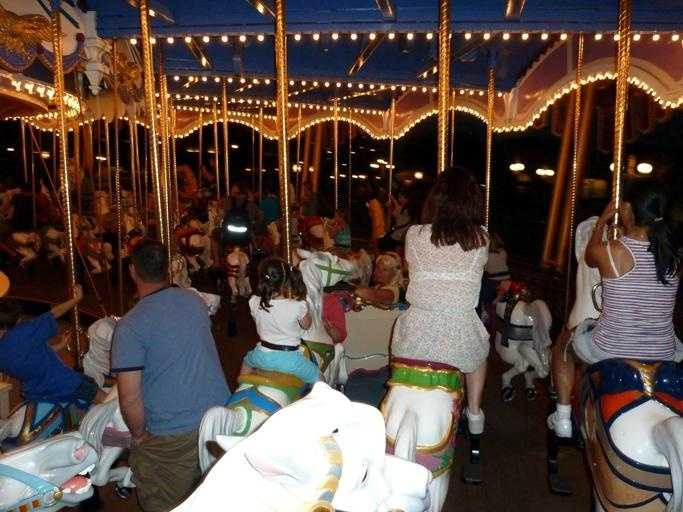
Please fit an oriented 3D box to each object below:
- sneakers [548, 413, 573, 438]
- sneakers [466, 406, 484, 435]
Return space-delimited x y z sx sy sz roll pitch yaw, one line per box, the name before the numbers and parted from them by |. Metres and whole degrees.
sneakers | 1.409 1.081 3.469 0.098 0.124 0.256 -1 7 4
sneakers | 0.841 1.005 3.335 0.103 0.123 0.274 -1 9 5
